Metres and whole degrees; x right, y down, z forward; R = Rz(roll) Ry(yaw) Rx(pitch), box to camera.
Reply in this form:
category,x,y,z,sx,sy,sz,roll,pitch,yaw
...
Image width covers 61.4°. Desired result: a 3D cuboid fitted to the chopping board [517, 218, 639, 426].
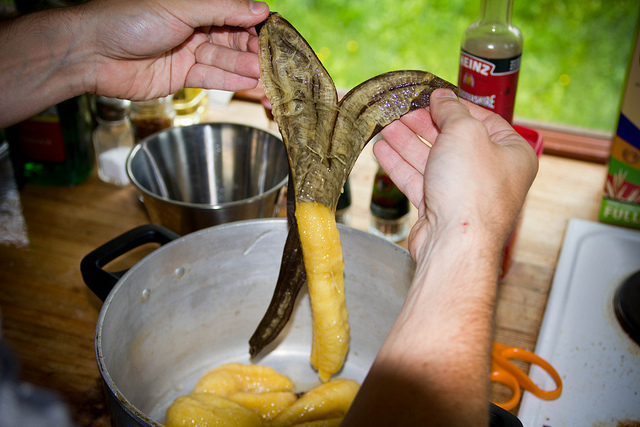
category,x,y,z,sx,sy,sz,roll,pitch,yaw
chopping board,0.555,0.216,1.080,0.194,0.124,0.517,19,41,21

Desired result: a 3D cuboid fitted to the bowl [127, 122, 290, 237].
category,x,y,z,sx,sy,sz,roll,pitch,yaw
bowl,-0.263,-0.110,1.184,0.276,0.208,0.308,-4,45,-4

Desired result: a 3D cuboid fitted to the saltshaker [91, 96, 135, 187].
category,x,y,z,sx,sy,sz,roll,pitch,yaw
saltshaker,-0.570,-0.187,1.463,0.101,0.251,0.107,-15,-14,24

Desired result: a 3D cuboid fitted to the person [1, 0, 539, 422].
category,x,y,z,sx,sy,sz,roll,pitch,yaw
person,-0.116,0.045,1.280,1.037,0.328,0.789,29,58,21
